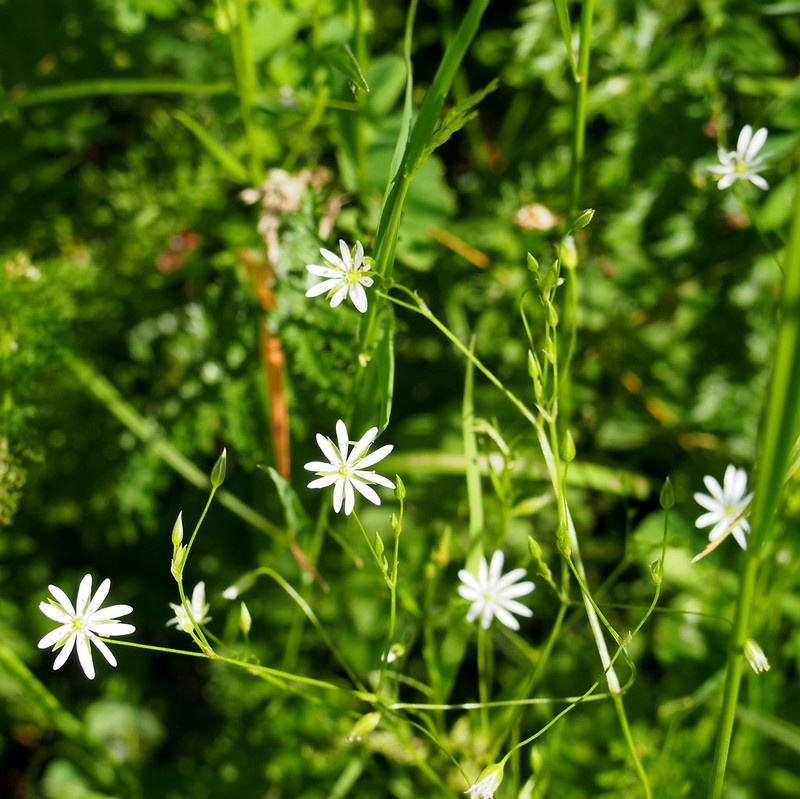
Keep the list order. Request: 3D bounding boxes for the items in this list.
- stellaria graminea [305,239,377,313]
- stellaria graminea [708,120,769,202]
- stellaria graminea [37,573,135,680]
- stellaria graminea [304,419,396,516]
[{"bbox_3d":[-0.063,-0.164,1.174,0.067,0.072,0.036,26,77,-11],"label":"stellaria graminea"},{"bbox_3d":[0.481,-0.362,1.315,0.078,0.034,0.101,-16,18,49],"label":"stellaria graminea"},{"bbox_3d":[-0.396,0.277,1.132,0.121,0.039,0.137,27,32,-20],"label":"stellaria graminea"},{"bbox_3d":[-0.070,0.087,1.137,0.117,0.034,0.139,-2,13,-4],"label":"stellaria graminea"}]
